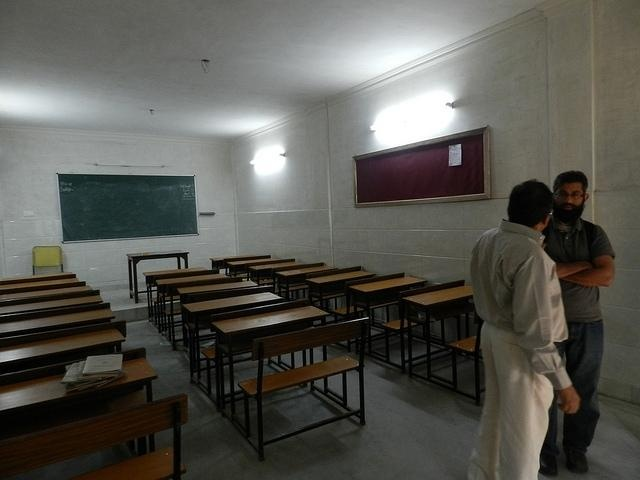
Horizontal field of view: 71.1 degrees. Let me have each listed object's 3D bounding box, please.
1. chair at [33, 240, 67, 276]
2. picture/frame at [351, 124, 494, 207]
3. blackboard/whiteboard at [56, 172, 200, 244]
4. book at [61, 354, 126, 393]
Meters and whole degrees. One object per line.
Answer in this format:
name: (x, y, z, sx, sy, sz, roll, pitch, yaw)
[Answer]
chair: (-4.840, 0.327, 8.026, 0.473, 0.791, 0.511, -2, 8, -37)
picture/frame: (1.143, -0.789, 5.570, 0.040, 0.798, 2.193, -6, 6, -36)
blackboard/whiteboard: (-3.699, -0.647, 8.712, 2.507, 1.259, 0.031, -2, 0, -14)
book: (-1.529, 0.870, 3.013, 0.358, 0.107, 0.339, -6, 12, -22)
